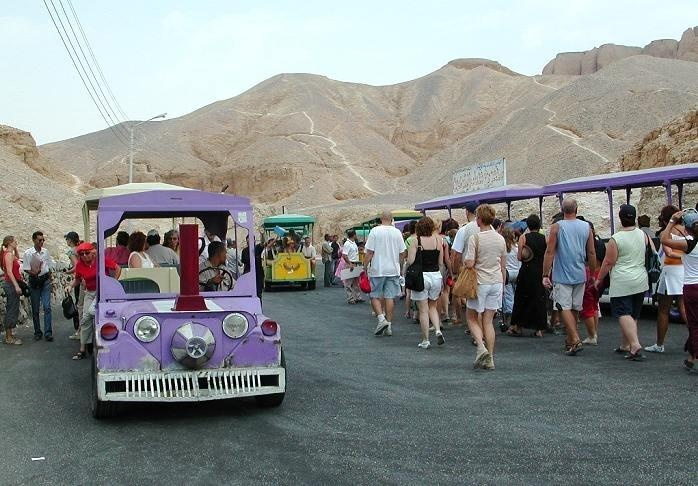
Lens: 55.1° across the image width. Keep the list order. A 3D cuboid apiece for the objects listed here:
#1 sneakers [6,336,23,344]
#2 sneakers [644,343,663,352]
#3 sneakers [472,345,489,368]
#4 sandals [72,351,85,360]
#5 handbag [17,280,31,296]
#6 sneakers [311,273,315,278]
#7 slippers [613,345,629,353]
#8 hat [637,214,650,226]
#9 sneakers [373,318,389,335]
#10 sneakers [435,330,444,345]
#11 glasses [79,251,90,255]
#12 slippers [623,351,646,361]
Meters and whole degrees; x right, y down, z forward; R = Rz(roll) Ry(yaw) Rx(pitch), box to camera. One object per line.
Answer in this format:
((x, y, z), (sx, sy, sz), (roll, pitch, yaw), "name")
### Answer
((-6.216, 1.809, 12.419), (0.266, 0.091, 0.146), (0, 1, 30), "sneakers")
((4.843, 1.668, 10.678), (0.296, 0.119, 0.107), (1, 0, 24), "sneakers")
((1.922, 1.664, 9.806), (0.188, 0.336, 0.227), (2, 41, -13), "sneakers")
((-4.409, 1.835, 10.974), (0.099, 0.099, 0.253), (-2, -9, 19), "sandals")
((-6.287, 0.864, 12.897), (0.164, 0.283, 0.183), (-17, 45, -28), "handbag")
((-1.264, 1.103, 22.892), (0.163, 0.149, 0.083), (1, -13, -7), "sneakers")
((4.321, 1.690, 10.653), (0.087, 0.060, 0.159), (2, 0, -15), "slippers")
((5.604, -0.418, 12.668), (0.233, 0.205, 0.259), (4, 11, 9), "hat")
((0.604, 1.581, 12.679), (0.138, 0.314, 0.212), (16, 31, -28), "sneakers")
((1.574, 1.641, 11.520), (0.113, 0.278, 0.119), (-18, 37, -7), "sneakers")
((-4.525, 0.183, 11.405), (0.101, 0.046, 0.093), (-5, -4, 0), "glasses")
((4.276, 1.706, 10.139), (0.169, 0.076, 0.244), (-2, 1, -12), "slippers")
